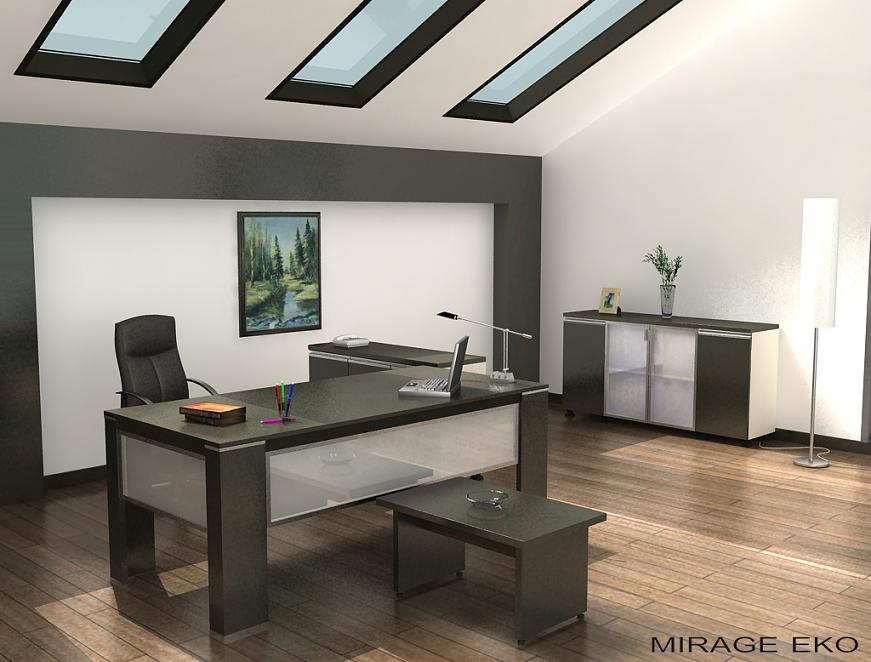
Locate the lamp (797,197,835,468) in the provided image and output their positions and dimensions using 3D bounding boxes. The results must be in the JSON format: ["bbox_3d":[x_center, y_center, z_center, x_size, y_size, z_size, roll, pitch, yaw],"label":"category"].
[{"bbox_3d":[3.417,0.014,6.005,0.327,2.354,0.592,3,7,28],"label":"lamp"}]

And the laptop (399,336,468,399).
[{"bbox_3d":[0.001,0.211,4.296,0.397,0.326,0.455,2,5,12],"label":"laptop"}]

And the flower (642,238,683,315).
[{"bbox_3d":[2.465,-0.591,7.227,0.366,0.969,0.795,-2,6,13],"label":"flower"}]

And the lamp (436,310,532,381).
[{"bbox_3d":[0.350,0.144,4.892,0.756,0.478,0.222,5,-2,30],"label":"lamp"}]

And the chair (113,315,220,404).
[{"bbox_3d":[-2.177,0.226,5.326,0.652,0.955,0.636,7,13,41],"label":"chair"}]

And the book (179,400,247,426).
[{"bbox_3d":[-1.155,0.436,3.554,0.324,0.084,0.231,3,7,24],"label":"book"}]

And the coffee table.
[{"bbox_3d":[0.273,1.200,3.573,0.633,0.544,1.007,-2,2,-45],"label":"coffee table"}]
